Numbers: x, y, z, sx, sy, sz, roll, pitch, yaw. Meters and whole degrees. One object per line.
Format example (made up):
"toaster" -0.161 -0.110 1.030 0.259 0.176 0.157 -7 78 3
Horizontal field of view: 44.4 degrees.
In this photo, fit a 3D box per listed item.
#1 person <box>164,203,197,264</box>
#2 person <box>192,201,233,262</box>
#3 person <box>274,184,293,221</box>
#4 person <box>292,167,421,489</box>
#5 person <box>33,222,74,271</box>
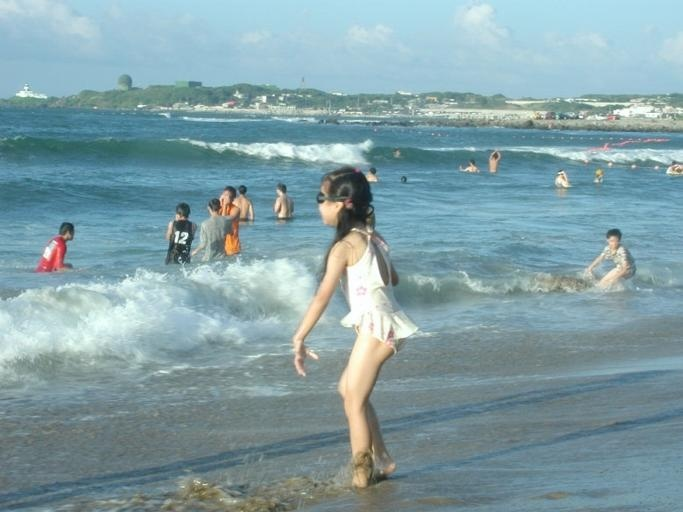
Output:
"person" -2.503 -0.123 13.054 0.585 1.354 0.499 2 6 -11
"person" -2.101 -0.415 13.394 0.671 0.961 0.657 -4 12 -8
"person" -1.338 -1.269 19.011 0.403 0.827 1.037 -3 11 -4
"person" 0.134 0.549 6.507 0.871 2.450 0.680 2 14 17
"person" -4.354 -0.134 12.555 0.548 0.709 0.467 -10 14 -32
